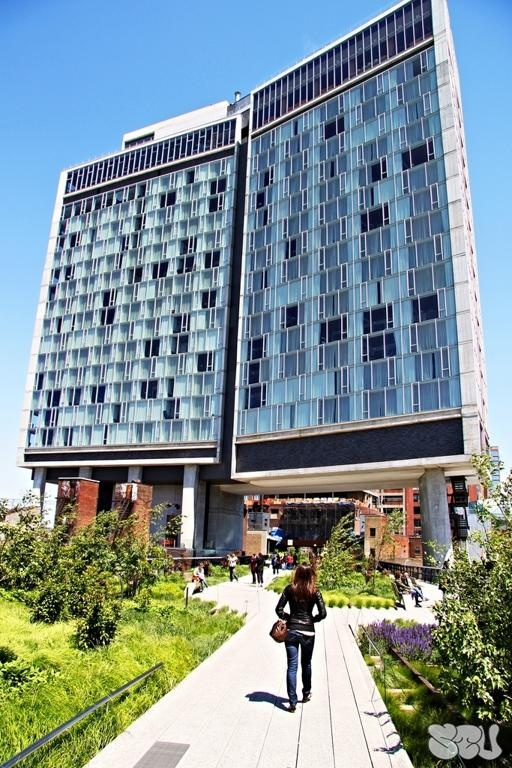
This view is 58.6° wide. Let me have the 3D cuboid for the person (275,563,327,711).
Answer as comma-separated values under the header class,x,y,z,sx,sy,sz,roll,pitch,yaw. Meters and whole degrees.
class,x,y,z,sx,sy,sz,roll,pitch,yaw
person,0.651,3.561,6.462,0.663,1.987,1.133,-2,-10,5
